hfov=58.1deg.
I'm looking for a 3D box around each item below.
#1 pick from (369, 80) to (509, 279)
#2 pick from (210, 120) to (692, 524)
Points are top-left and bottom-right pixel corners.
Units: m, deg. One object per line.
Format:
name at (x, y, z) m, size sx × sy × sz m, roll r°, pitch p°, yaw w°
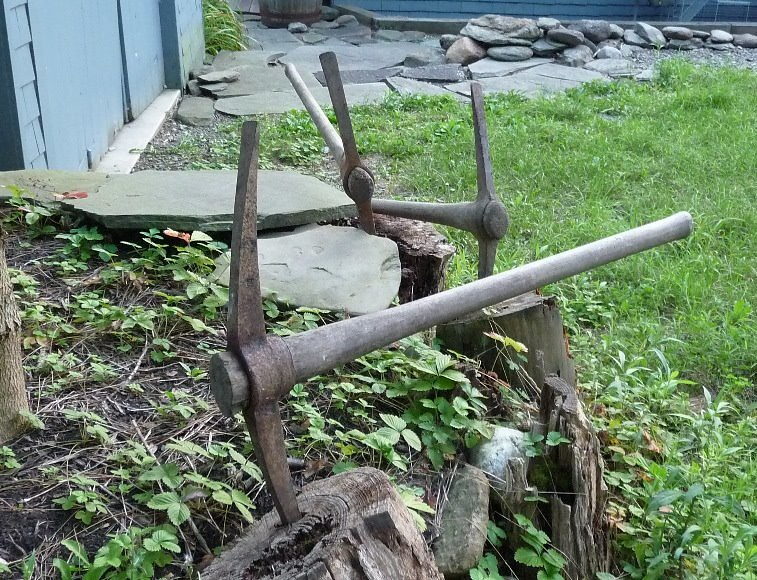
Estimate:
pick at (0.095, -0.377, 3.003) m, size 0.981 × 0.999 × 0.156 m, roll 9°, pitch 11°, yaw 40°
pick at (0.313, -0.024, 2.153) m, size 1.797 × 1.127 × 0.169 m, roll -15°, pitch 19°, yaw -33°
